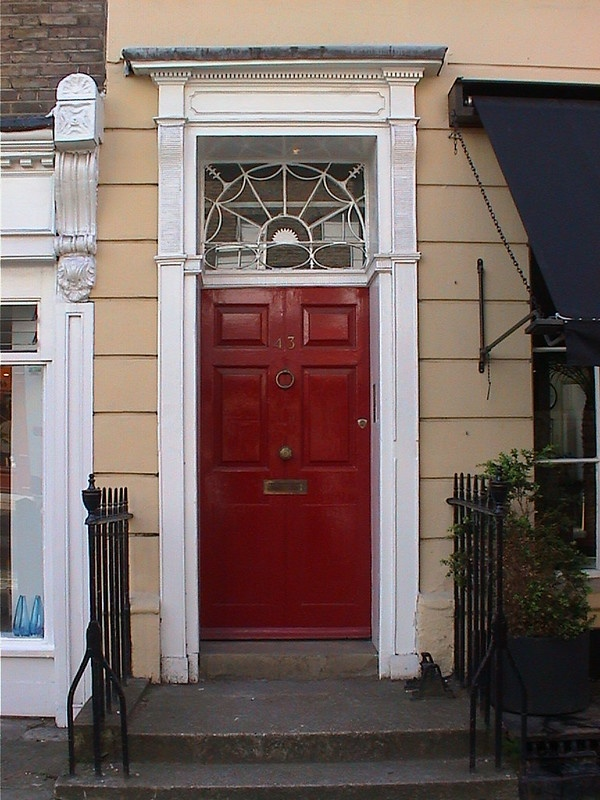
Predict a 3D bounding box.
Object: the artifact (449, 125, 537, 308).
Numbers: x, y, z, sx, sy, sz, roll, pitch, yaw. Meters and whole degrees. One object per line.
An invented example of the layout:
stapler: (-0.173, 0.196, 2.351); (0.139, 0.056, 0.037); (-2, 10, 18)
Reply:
artifact: (1.034, -1.003, 7.635); (0.040, 1.105, 0.169); (-26, 12, -5)

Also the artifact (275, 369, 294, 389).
artifact: (-0.085, -0.118, 8.069); (0.118, 0.111, 0.026); (1, 0, -3)
